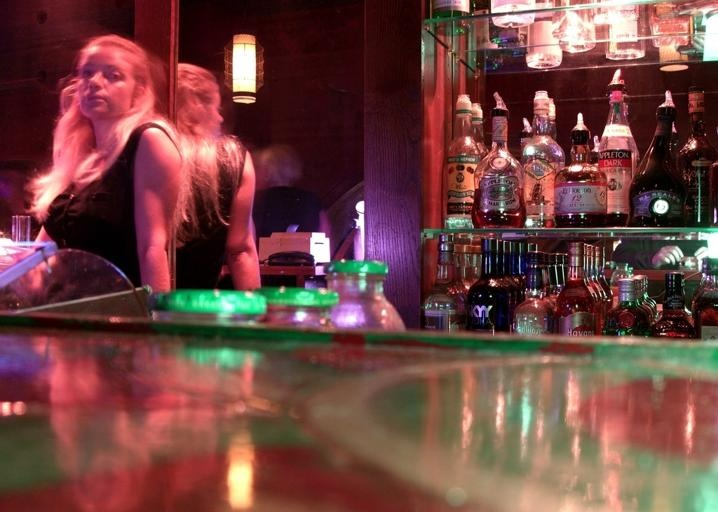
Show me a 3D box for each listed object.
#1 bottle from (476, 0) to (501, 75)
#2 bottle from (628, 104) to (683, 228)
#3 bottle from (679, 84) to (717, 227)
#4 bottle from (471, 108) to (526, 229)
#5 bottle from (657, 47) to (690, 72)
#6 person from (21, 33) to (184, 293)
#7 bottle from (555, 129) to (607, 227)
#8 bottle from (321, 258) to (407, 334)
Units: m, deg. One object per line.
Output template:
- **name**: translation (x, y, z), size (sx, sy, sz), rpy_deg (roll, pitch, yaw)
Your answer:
- **bottle**: translation (0.377, -0.641, 1.971), size (0.051, 0.202, 0.047), rpy_deg (-11, 45, 12)
- **bottle**: translation (0.759, -0.228, 1.725), size (0.126, 0.306, 0.119), rpy_deg (0, 2, 0)
- **bottle**: translation (0.884, -0.256, 1.764), size (0.088, 0.359, 0.225), rpy_deg (1, 2, 23)
- **bottle**: translation (0.373, -0.234, 1.798), size (0.134, 0.320, 0.163), rpy_deg (1, 2, 13)
- **bottle**: translation (0.936, -0.583, 2.014), size (0.072, 0.070, 0.074), rpy_deg (0, 4, 6)
- **person**: translation (-1.061, -0.403, 2.876), size (0.683, 1.065, 0.158), rpy_deg (1, 2, 15)
- **bottle**: translation (0.583, -0.202, 1.754), size (0.122, 0.253, 0.173), rpy_deg (2, 3, 34)
- **bottle**: translation (0.003, 0.054, 0.927), size (0.099, 0.082, 0.096), rpy_deg (2, -4, -30)
